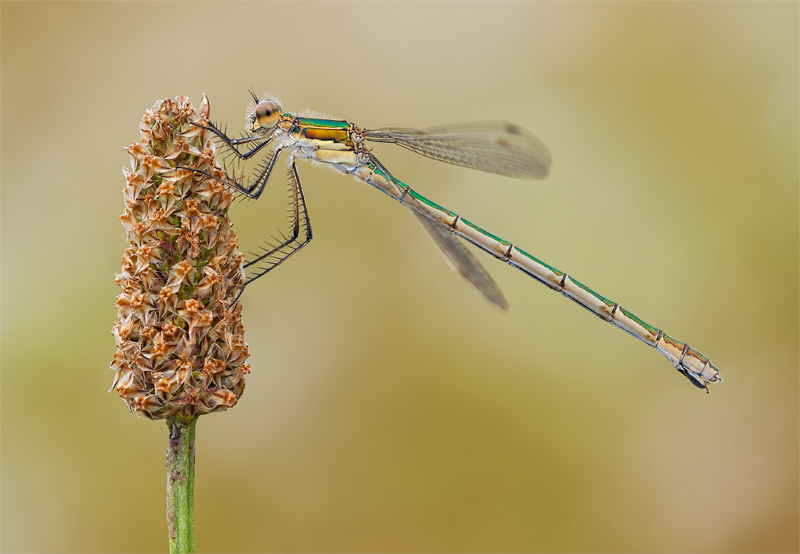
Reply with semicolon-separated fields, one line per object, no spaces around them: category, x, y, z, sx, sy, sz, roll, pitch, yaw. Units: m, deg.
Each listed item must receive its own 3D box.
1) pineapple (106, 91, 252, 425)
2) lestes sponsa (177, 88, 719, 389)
pineapple;-0.915;-0.056;3.847;0.577;0.569;1.248;2;-67;-16
lestes sponsa;0.295;-0.376;4.914;2.760;0.870;0.920;11;-69;-20
